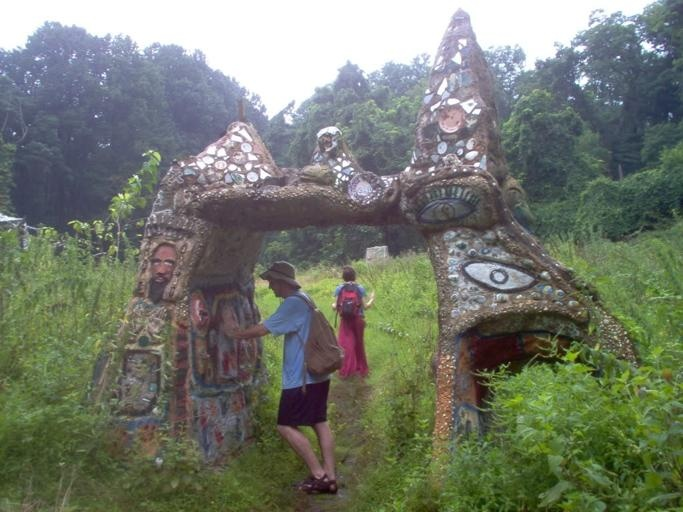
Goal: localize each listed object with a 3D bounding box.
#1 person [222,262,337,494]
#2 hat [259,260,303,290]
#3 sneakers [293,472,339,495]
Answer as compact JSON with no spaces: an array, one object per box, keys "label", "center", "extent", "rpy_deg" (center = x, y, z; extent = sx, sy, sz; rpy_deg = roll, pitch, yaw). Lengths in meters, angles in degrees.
[{"label":"person","center":[-0.453,1.163,5.481],"extent":[0.931,2.205,0.623],"rpy_deg":[0,-13,-2]},{"label":"hat","center":[-0.589,0.207,5.579],"extent":[0.317,0.175,0.279],"rpy_deg":[27,-7,-19]},{"label":"sneakers","center":[-0.235,2.140,5.272],"extent":[0.393,0.187,0.148],"rpy_deg":[2,-7,8]}]
